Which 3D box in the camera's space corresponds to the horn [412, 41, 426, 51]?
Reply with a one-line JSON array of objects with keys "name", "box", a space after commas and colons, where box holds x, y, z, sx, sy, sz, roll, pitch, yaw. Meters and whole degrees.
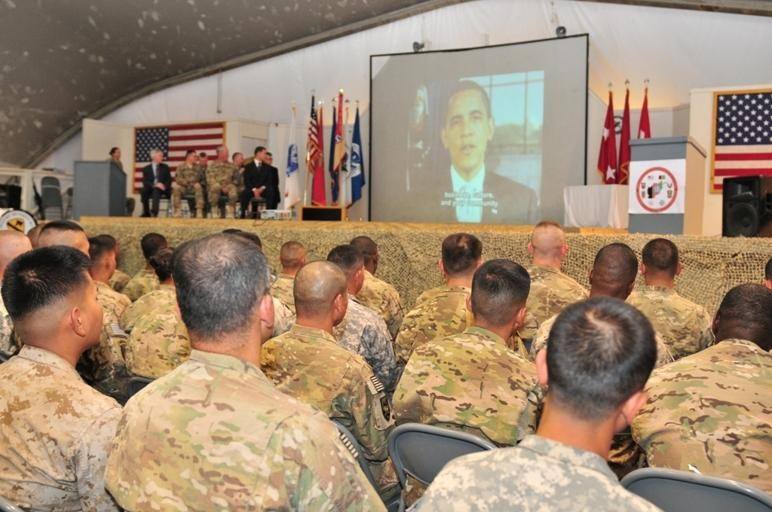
[{"name": "horn", "box": [0.619, -3.918, 11.861, 0.201, 0.263, 0.407, 0, 4, 0]}]

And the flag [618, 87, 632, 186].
[{"name": "flag", "box": [3.864, -1.973, 10.291, 0.177, 1.603, 1.016, 1, 4, 21]}]

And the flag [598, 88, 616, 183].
[{"name": "flag", "box": [3.588, -1.918, 10.252, 0.280, 1.481, 0.392, 1, 3, 20]}]

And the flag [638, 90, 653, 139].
[{"name": "flag", "box": [4.248, -2.367, 10.442, 0.208, 0.880, 0.754, 2, 4, 23]}]
